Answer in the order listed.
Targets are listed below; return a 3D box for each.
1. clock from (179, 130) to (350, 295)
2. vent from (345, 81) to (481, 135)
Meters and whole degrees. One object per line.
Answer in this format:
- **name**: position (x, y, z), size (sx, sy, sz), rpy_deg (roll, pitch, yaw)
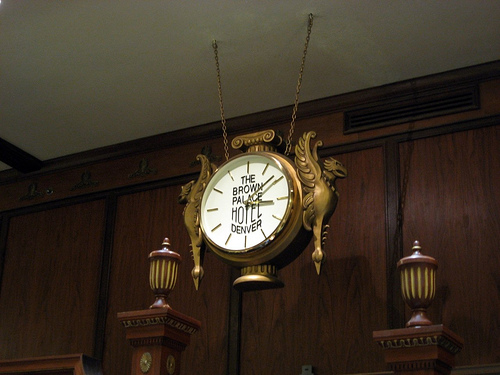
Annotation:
- **clock**: position (0.142, 0.203, 4.971), size (1.032, 0.902, 0.265), rpy_deg (-7, -26, 24)
- **vent**: position (1.193, -0.582, 5.524), size (1.008, 0.228, 0.032), rpy_deg (-11, -21, 20)
